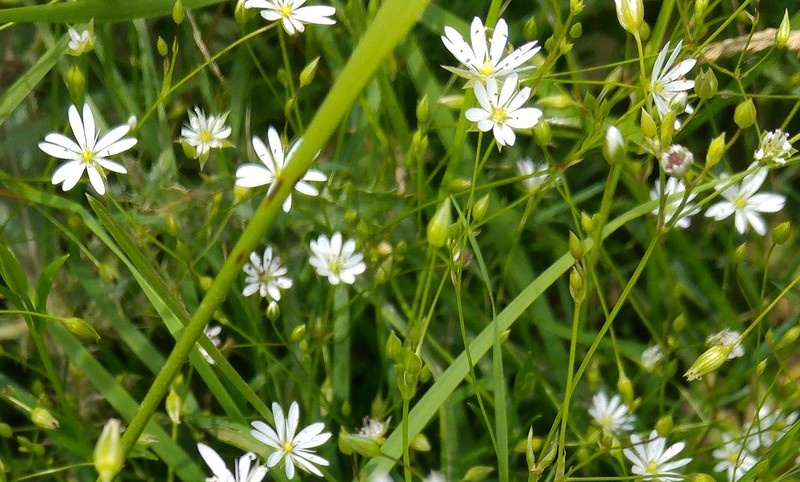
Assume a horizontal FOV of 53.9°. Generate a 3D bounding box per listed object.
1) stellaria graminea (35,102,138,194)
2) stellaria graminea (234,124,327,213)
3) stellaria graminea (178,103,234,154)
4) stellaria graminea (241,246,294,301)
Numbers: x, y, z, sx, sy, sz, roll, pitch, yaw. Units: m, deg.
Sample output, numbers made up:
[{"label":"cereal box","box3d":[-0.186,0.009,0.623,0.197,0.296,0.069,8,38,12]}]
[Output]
[{"label":"stellaria graminea","box3d":[-0.721,-0.212,1.813,0.198,0.062,0.231,-14,86,-9]},{"label":"stellaria graminea","box3d":[-0.292,-0.128,1.853,0.193,0.065,0.213,38,45,-16]},{"label":"stellaria graminea","box3d":[-0.486,-0.284,1.953,0.119,0.120,0.058,-10,80,17]},{"label":"stellaria graminea","box3d":[-0.320,0.052,1.929,0.105,0.116,0.028,34,98,18]}]
